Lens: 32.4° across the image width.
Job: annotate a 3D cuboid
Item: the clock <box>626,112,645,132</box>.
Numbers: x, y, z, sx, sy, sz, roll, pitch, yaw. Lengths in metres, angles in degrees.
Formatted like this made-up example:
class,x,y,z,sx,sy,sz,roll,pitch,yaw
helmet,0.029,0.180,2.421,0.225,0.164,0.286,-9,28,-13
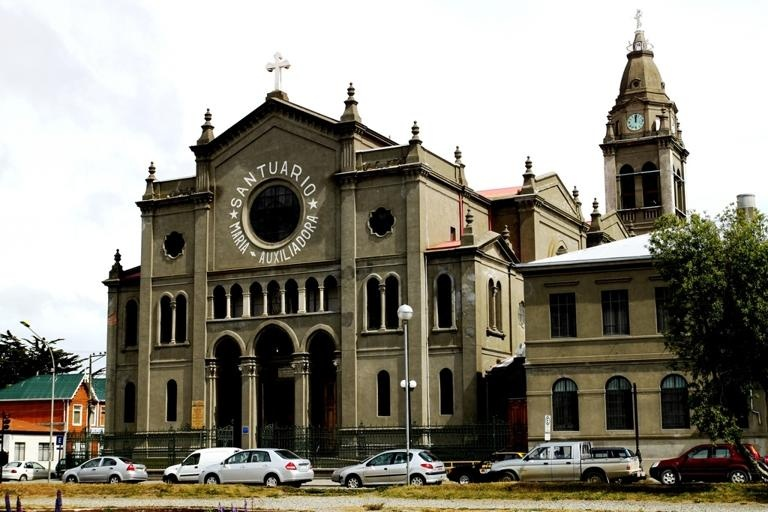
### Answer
class,x,y,z,sx,sy,sz,roll,pitch,yaw
clock,23.603,-12.557,123.273,0.096,1.831,1.870,2,-3,-32

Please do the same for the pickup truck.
class,x,y,z,sx,sy,sz,roll,pitch,yaw
pickup truck,10.268,11.951,75.743,8.260,2.607,3.456,-2,-2,16

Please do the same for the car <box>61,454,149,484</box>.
class,x,y,z,sx,sy,sz,roll,pitch,yaw
car,-17.711,13.735,84.795,4.684,1.487,2.099,1,-12,10
